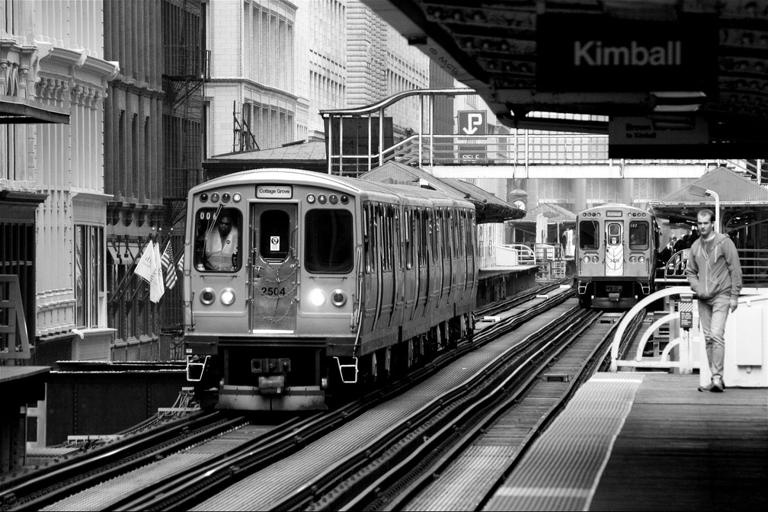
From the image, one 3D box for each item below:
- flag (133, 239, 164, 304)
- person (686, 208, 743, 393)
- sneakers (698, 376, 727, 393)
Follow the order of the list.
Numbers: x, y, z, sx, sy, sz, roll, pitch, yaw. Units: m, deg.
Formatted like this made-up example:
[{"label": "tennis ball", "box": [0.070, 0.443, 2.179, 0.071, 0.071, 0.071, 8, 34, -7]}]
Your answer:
[{"label": "flag", "box": [-7.940, 0.533, 36.001, 0.839, 2.068, 1.167, -2, -2, -12]}, {"label": "person", "box": [4.747, 0.650, 15.279, 0.729, 1.975, 0.905, -3, -2, 16]}, {"label": "sneakers", "box": [4.884, 1.933, 15.796, 0.171, 0.222, 0.495, 1, 1, -3]}]
